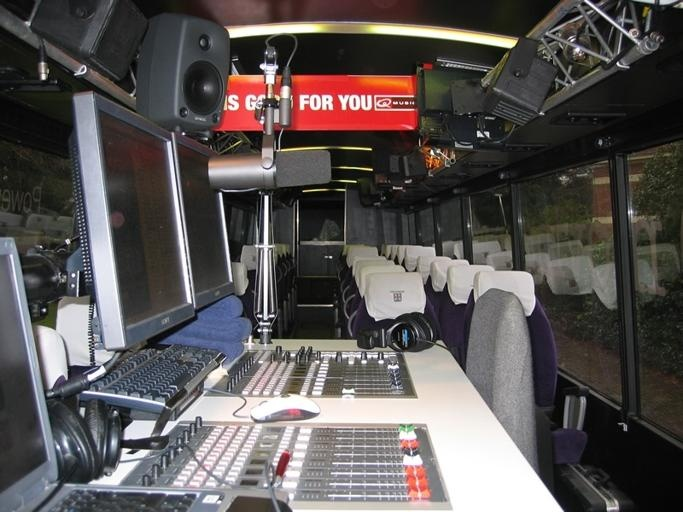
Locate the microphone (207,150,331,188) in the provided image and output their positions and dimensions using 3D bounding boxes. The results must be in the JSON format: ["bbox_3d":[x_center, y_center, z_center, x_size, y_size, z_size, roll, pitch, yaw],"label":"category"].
[{"bbox_3d":[-0.360,-0.404,2.368,0.445,0.149,0.248,-3,-1,-2],"label":"microphone"}]

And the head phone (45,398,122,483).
[{"bbox_3d":[-0.826,0.593,1.544,0.107,0.266,0.231,-32,-27,7],"label":"head phone"}]

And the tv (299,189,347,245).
[{"bbox_3d":[-0.657,-1.263,15.353,1.843,1.739,0.428,-1,1,-12],"label":"tv"}]

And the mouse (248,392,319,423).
[{"bbox_3d":[-0.218,0.593,1.956,0.207,0.068,0.125,5,-7,-18],"label":"mouse"}]
